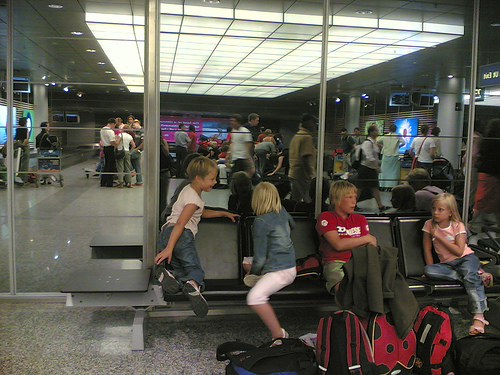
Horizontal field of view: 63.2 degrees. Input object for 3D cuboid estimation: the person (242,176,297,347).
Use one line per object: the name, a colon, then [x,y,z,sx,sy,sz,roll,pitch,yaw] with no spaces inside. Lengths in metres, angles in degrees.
person: [0.185,0.608,3.512,0.437,1.229,0.658,5,16,4]

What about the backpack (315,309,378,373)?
backpack: [0.667,1.069,2.786,0.428,0.399,0.264,-9,-30,24]

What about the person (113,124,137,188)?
person: [-1.291,-0.322,4.175,0.243,0.659,0.205,6,17,8]

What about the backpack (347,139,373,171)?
backpack: [1.186,-0.359,4.406,0.254,0.335,0.078,-4,19,-24]

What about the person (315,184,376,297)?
person: [0.841,0.512,3.741,0.551,1.014,0.679,10,17,22]

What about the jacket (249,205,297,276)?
jacket: [0.198,0.482,3.551,0.380,0.545,0.359,2,16,-5]

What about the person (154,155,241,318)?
person: [-0.517,0.481,3.722,0.733,1.415,1.040,3,15,-2]
